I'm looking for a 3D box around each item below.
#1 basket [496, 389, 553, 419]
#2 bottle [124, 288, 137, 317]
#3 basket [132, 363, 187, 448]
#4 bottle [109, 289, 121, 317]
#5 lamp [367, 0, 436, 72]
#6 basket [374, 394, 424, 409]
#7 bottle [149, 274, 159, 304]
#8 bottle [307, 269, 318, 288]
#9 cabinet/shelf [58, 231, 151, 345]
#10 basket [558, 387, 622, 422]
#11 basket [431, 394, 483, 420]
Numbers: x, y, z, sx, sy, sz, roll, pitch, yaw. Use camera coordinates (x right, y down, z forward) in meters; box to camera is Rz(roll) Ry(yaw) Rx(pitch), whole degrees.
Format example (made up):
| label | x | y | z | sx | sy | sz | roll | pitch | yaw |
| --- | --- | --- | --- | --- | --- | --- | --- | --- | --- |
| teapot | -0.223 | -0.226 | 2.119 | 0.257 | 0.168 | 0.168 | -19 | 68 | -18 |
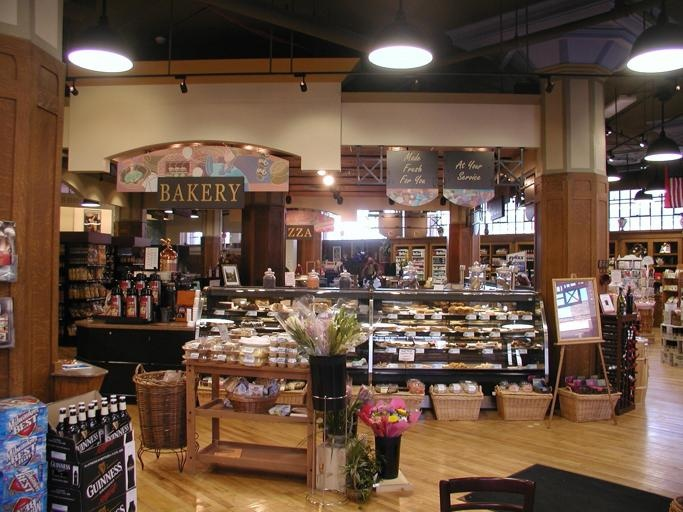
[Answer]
| label | x | y | z | sx | sy | sz | roll | pitch | yaw |
| --- | --- | --- | --- | --- | --- | --- | --- | --- | --- |
| basket | 2.576 | 2.104 | 8.279 | 0.573 | 0.282 | 0.425 | 1 | -5 | 1 |
| bottle | -3.159 | 0.709 | 8.826 | 0.211 | 0.421 | 0.177 | 1 | 8 | 2 |
| basket | -2.100 | 1.870 | 6.873 | 0.537 | 1.101 | 0.742 | -4 | 10 | -32 |
| bottle | -3.429 | 0.705 | 8.873 | 0.204 | 0.388 | 0.199 | 1 | 8 | 0 |
| lamp | 0.622 | -2.246 | 6.371 | 0.756 | 0.782 | 0.745 | 0 | -3 | 7 |
| basket | 0.829 | 1.979 | 8.091 | 0.754 | 0.255 | 0.489 | 0 | -2 | 1 |
| bottle | -2.853 | 0.506 | 8.958 | 0.150 | 0.446 | 0.218 | -2 | 9 | -21 |
| bottle | -0.484 | 0.381 | 9.542 | 0.235 | 0.348 | 0.235 | -1 | -2 | 0 |
| cabinet/shelf | -4.821 | 0.633 | 11.646 | 0.911 | 2.607 | 2.373 | 0 | 8 | 10 |
| basket | 3.569 | 2.096 | 8.377 | 0.677 | 0.314 | 0.466 | 2 | -5 | -10 |
| basket | 1.626 | 2.093 | 8.274 | 0.557 | 0.261 | 0.383 | 0 | -6 | 2 |
